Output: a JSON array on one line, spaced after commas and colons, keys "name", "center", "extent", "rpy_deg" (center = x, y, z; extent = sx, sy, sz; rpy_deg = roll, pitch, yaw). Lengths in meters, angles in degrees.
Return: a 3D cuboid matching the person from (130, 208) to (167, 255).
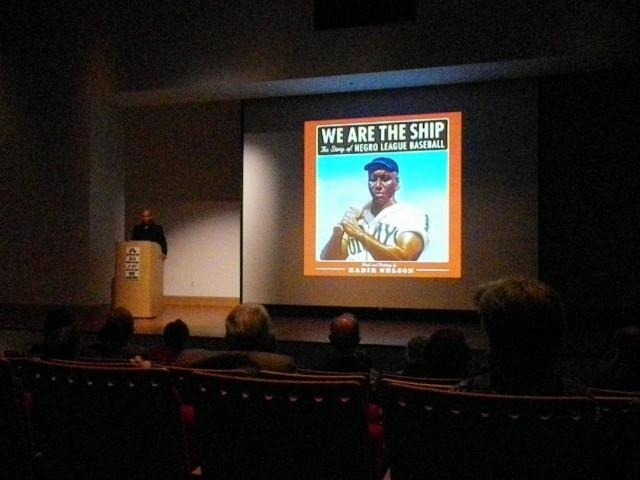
[{"name": "person", "center": [-2.152, 0.062, 7.238], "extent": [0.425, 0.870, 0.309], "rpy_deg": [0, 16, -11]}]
